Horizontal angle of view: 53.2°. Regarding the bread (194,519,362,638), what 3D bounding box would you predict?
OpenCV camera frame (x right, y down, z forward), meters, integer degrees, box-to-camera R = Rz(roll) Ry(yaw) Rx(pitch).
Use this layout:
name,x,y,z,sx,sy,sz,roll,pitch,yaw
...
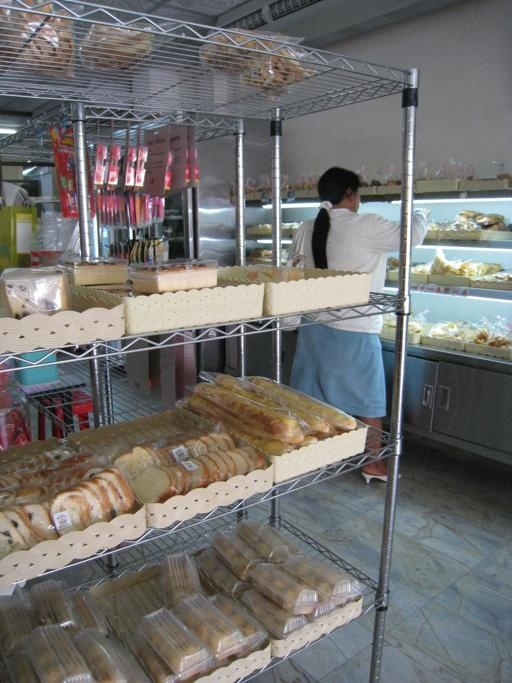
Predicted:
name,x,y,z,sx,sy,sz,roll,pitch,yaw
bread,0.028,0.658,1.458,0.248,0.071,0.315,-7,16,-37

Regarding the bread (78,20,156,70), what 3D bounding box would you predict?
name,x,y,z,sx,sy,sz,roll,pitch,yaw
bread,-0.314,-0.654,1.152,0.159,0.040,0.356,-4,12,-16

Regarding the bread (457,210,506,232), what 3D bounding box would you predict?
name,x,y,z,sx,sy,sz,roll,pitch,yaw
bread,1.427,-0.769,3.273,0.186,0.081,0.233,-2,16,-44

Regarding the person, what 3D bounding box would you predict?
name,x,y,z,sx,sy,sz,roll,pitch,yaw
person,0.588,-0.099,3.137,0.777,1.807,0.716,6,15,30

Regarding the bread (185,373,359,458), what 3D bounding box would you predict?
name,x,y,z,sx,sy,sz,roll,pitch,yaw
bread,0.008,0.183,1.400,0.220,0.086,0.331,-3,12,-39

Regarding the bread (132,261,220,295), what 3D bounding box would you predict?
name,x,y,z,sx,sy,sz,roll,pitch,yaw
bread,-0.182,-0.147,1.177,0.198,0.072,0.182,-4,12,-19
